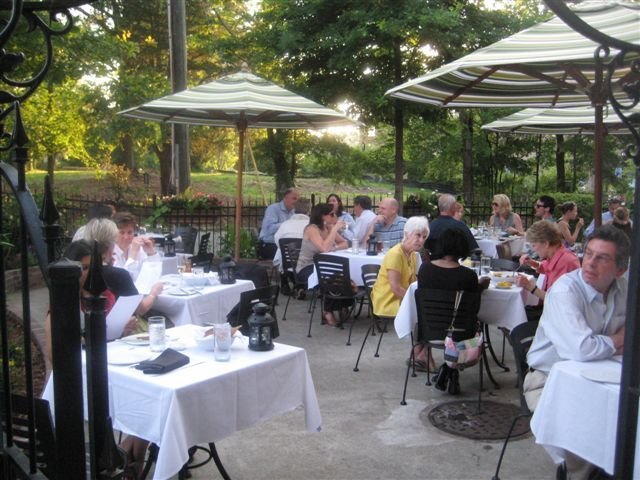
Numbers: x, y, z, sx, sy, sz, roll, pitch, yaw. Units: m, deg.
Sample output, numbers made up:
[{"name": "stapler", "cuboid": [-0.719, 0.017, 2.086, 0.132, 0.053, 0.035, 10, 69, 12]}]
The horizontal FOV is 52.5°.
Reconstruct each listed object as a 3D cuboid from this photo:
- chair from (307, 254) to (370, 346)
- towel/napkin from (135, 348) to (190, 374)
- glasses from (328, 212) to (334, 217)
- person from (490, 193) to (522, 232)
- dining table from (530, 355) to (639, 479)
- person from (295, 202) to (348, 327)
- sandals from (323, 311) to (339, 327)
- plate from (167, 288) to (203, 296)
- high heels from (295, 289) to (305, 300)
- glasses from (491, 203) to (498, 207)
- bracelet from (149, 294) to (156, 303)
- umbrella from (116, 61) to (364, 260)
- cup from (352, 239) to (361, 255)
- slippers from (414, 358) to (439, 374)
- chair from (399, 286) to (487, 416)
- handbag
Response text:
[{"name": "chair", "cuboid": [0.357, 0.597, 9.122, 0.804, 1.703, 1.071, 4, 17, 18]}, {"name": "towel/napkin", "cuboid": [-1.083, 0.863, 4.551, 0.167, 0.084, 0.220, 3, 7, 43]}, {"name": "glasses", "cuboid": [0.189, -0.392, 9.907, 0.051, 0.062, 0.017, -2, -15, -10]}, {"name": "person", "cuboid": [3.637, -0.421, 12.777, 0.587, 0.994, 0.541, 1, 14, 27]}, {"name": "dining table", "cuboid": [1.729, 1.224, 4.416, 0.579, 0.739, 0.446, 9, 12, 35]}, {"name": "person", "cuboid": [0.072, 0.326, 9.959, 0.820, 1.774, 0.627, 14, 14, 34]}, {"name": "sandals", "cuboid": [0.174, 1.179, 9.510, 0.100, 0.182, 0.350, 4, -14, -21]}, {"name": "plate", "cuboid": [-1.441, 0.545, 6.825, 0.345, 0.015, 0.308, 2, 11, -5]}, {"name": "high heels", "cuboid": [-0.323, 0.932, 11.038, 0.148, 0.175, 0.161, 1, -3, -2]}, {"name": "glasses", "cuboid": [3.429, -0.683, 12.641, 0.138, 0.049, 0.107, -10, 9, -28]}, {"name": "bracelet", "cuboid": [-1.626, 0.568, 6.333, 0.062, 0.072, 0.066, -3, 8, -24]}, {"name": "umbrella", "cuboid": [-1.411, -1.193, 10.827, 3.505, 3.221, 3.509, -1, 11, -19]}, {"name": "cup", "cuboid": [0.556, 0.113, 9.678, 0.141, 0.260, 0.156, 0, 3, 7]}, {"name": "slippers", "cuboid": [1.210, 1.448, 7.477, 0.318, 0.147, 0.122, 2, -3, 24]}, {"name": "chair", "cuboid": [1.247, 1.051, 6.554, 0.884, 1.609, 1.024, 2, 4, 19]}, {"name": "handbag", "cuboid": [1.401, 0.878, 6.329, 0.355, 0.683, 0.553, 4, 10, 11]}]
